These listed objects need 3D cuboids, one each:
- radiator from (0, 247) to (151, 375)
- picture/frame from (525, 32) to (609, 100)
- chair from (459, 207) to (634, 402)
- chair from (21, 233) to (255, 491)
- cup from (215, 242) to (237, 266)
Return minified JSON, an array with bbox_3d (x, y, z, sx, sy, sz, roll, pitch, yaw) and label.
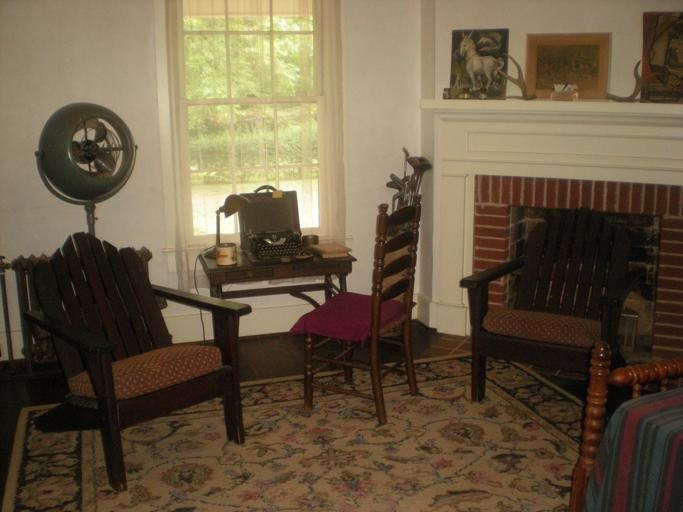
[{"bbox_3d":[-1.558,0.321,3.394,0.846,0.695,0.111,-11,15,-21],"label":"radiator"},{"bbox_3d":[1.641,-1.378,4.126,0.607,0.470,0.045,3,15,19],"label":"picture/frame"},{"bbox_3d":[1.346,0.309,3.633,0.844,1.025,1.073,6,17,34],"label":"chair"},{"bbox_3d":[-1.171,0.504,3.204,1.139,1.039,0.960,7,13,29],"label":"chair"},{"bbox_3d":[-0.785,-0.013,3.891,0.153,0.119,0.137,-3,19,-12],"label":"cup"}]
